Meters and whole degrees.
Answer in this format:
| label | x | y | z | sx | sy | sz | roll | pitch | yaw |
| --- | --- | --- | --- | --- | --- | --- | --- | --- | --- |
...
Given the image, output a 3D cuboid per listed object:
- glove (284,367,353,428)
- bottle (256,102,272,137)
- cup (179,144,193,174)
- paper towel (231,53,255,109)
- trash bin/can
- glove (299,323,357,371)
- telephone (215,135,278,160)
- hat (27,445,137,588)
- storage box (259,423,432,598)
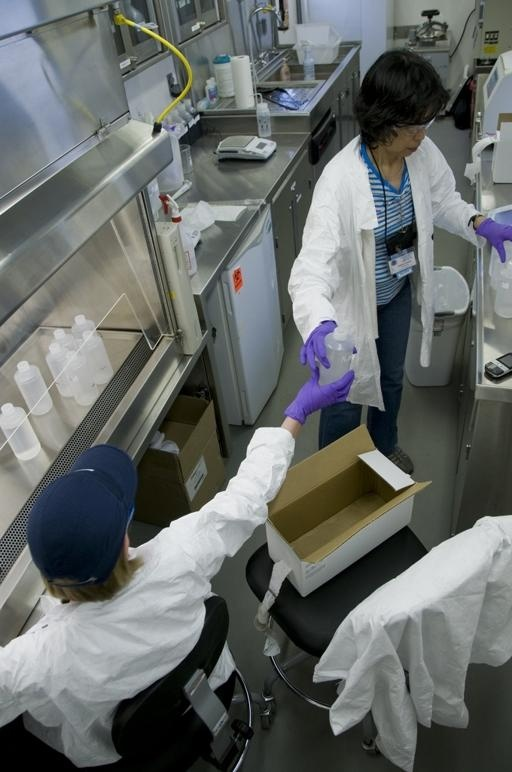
| label | x | y | z | sx | sy | sz | roll | pitch | yaw |
| --- | --- | --- | --- | --- | --- | --- | --- | --- | --- |
| glove | 0.145 | 0.013 | 1.165 | 0.050 | 0.106 | 0.180 | 13 | 74 | 62 |
| bottle | 0.044 | -1.637 | 3.013 | 0.089 | 0.209 | 0.135 | -8 | 35 | 4 |
| cup | -0.408 | -1.287 | 2.769 | 0.055 | 0.134 | 0.160 | -13 | 36 | -3 |
| paper towel | -0.087 | -1.915 | 3.071 | 0.135 | 0.271 | 0.245 | -9 | 35 | 3 |
| trash bin/can | 0.819 | -0.266 | 2.180 | 0.223 | 0.417 | 0.418 | -1 | 46 | 5 |
| glove | 0.175 | -0.095 | 1.247 | 0.104 | 0.109 | 0.146 | 18 | 47 | 36 |
| telephone | -0.065 | -1.401 | 2.855 | 0.241 | 0.075 | 0.209 | 5 | 45 | 7 |
| hat | -0.215 | 0.150 | 0.648 | 0.102 | 0.089 | 0.200 | 8 | 75 | 16 |
| storage box | 0.222 | 0.320 | 1.313 | 0.475 | 0.272 | 0.335 | -40 | 62 | -17 |
